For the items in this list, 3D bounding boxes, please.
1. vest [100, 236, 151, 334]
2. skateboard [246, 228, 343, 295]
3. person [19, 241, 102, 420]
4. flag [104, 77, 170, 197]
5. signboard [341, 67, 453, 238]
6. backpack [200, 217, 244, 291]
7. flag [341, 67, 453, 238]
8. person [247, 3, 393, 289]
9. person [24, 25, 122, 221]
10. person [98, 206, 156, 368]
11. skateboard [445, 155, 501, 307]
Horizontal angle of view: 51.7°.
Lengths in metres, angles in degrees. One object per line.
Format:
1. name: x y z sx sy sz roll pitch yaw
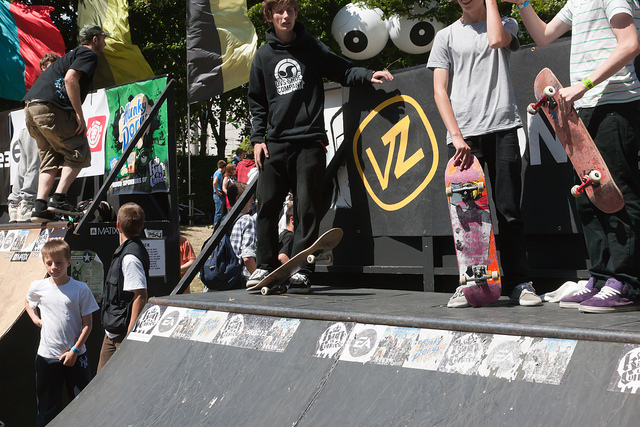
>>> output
1. vest: -1.938 0.719 6.593 0.497 0.908 0.416 -6 10 -17
2. skateboard: -0.186 0.450 5.909 0.710 0.130 0.198 -40 -37 15
3. person: -2.538 1.141 6.544 0.678 1.695 0.442 -5 10 -9
4. flag: -2.245 -0.922 8.275 1.292 1.573 0.064 -3 -7 38
5. signboard: 0.734 -0.540 5.954 1.208 1.651 0.118 -9 -6 39
6. backpack: -1.107 0.561 7.487 0.505 0.668 0.298 -5 10 -10
7. flag: 0.731 -0.538 5.960 1.184 1.622 0.116 -11 -8 38
8. person: -0.164 -0.522 6.055 1.055 2.712 1.333 -3 10 -2
9. person: -2.882 -1.020 7.515 0.910 2.150 0.738 -6 10 -17
10. person: -1.987 0.716 6.758 0.549 1.556 1.310 -4 10 -6
11. skateboard: 1.153 0.136 4.976 0.297 1.303 0.175 -7 26 18
